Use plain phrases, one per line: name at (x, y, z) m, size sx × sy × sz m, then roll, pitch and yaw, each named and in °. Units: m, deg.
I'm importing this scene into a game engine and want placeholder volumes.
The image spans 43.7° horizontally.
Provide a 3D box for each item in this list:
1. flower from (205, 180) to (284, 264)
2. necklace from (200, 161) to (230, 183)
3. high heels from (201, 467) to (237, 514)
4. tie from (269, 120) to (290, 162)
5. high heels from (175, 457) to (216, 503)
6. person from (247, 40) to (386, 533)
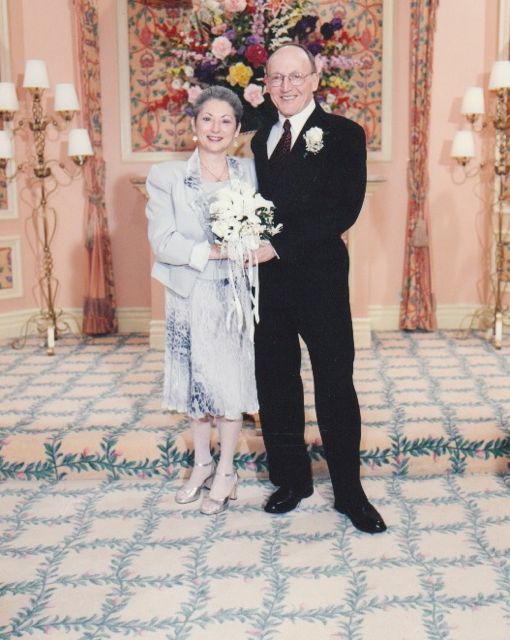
flower at (-0.073, -0.341, 2.151) m, size 0.309 × 0.249 × 0.239 m, roll -6°, pitch 15°, yaw -9°
necklace at (-0.141, -0.517, 2.224) m, size 0.072 × 0.081 × 0.037 m, roll -10°, pitch -17°, yaw -14°
high heels at (-0.132, 0.642, 2.394) m, size 0.087 × 0.103 × 0.225 m, roll 3°, pitch 9°, yaw 21°
tie at (0.092, -0.594, 2.133) m, size 0.064 × 0.194 × 0.021 m, roll 20°, pitch 60°, yaw 6°
high heels at (-0.211, 0.625, 2.481) m, size 0.090 × 0.098 × 0.253 m, roll 1°, pitch 8°, yaw 30°
person at (0.217, -0.088, 2.198) m, size 0.519 × 1.631 × 0.314 m, roll 3°, pitch 15°, yaw 18°
